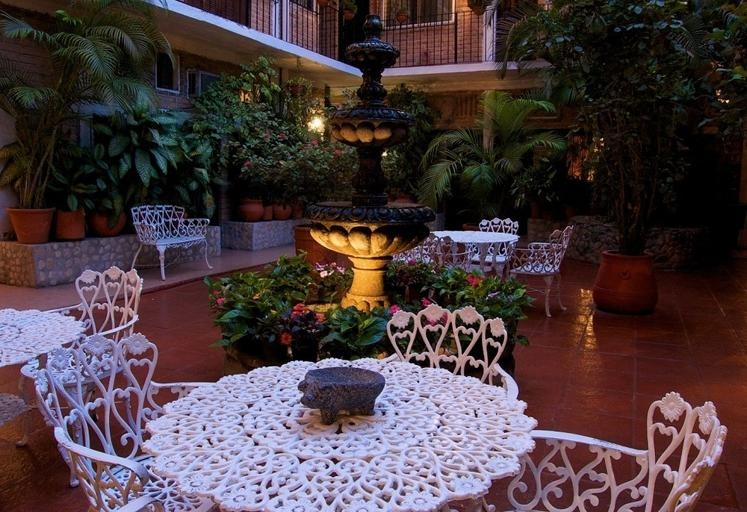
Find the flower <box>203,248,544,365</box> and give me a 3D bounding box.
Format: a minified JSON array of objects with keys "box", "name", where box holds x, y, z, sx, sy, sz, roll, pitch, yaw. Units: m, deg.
[{"box":[-0.172,0.505,4.619,2.466,0.717,1.637,-4,11,-17],"name":"flower"}]
